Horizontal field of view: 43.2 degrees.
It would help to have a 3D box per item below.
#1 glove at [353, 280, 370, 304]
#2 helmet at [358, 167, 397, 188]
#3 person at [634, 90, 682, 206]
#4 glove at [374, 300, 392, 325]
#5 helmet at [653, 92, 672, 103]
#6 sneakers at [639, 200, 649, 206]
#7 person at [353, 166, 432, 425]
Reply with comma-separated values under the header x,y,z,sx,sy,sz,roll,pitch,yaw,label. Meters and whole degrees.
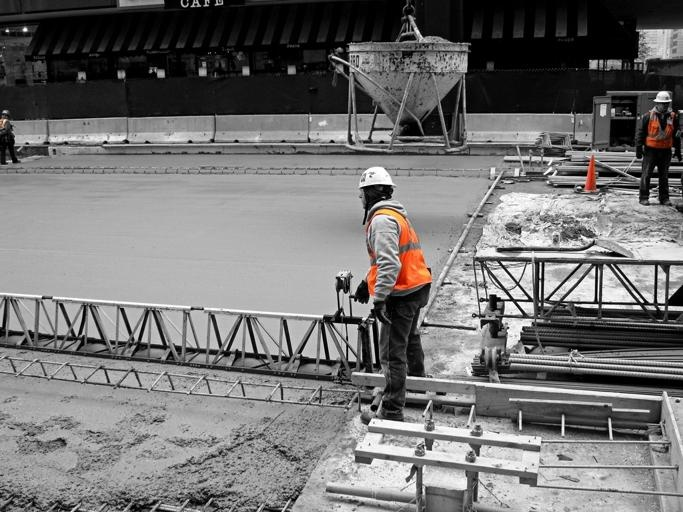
x,y,z,sx,sy,sz,roll,pitch,yaw,label
0.235,0.416,10.063,0.075,0.264,0.189,20,-2,14,glove
0.441,-0.917,9.891,0.382,0.208,0.312,-10,13,-36,helmet
6.065,-2.065,16.556,0.716,2.150,0.593,0,10,10,person
0.448,0.615,9.592,0.114,0.247,0.182,-12,19,43,glove
6.182,-3.050,16.506,0.255,0.203,0.429,1,11,15,helmet
5.938,-1.073,16.838,0.086,0.099,0.140,-4,0,-27,sneakers
0.560,0.428,9.813,0.739,2.835,0.905,5,12,32,person
